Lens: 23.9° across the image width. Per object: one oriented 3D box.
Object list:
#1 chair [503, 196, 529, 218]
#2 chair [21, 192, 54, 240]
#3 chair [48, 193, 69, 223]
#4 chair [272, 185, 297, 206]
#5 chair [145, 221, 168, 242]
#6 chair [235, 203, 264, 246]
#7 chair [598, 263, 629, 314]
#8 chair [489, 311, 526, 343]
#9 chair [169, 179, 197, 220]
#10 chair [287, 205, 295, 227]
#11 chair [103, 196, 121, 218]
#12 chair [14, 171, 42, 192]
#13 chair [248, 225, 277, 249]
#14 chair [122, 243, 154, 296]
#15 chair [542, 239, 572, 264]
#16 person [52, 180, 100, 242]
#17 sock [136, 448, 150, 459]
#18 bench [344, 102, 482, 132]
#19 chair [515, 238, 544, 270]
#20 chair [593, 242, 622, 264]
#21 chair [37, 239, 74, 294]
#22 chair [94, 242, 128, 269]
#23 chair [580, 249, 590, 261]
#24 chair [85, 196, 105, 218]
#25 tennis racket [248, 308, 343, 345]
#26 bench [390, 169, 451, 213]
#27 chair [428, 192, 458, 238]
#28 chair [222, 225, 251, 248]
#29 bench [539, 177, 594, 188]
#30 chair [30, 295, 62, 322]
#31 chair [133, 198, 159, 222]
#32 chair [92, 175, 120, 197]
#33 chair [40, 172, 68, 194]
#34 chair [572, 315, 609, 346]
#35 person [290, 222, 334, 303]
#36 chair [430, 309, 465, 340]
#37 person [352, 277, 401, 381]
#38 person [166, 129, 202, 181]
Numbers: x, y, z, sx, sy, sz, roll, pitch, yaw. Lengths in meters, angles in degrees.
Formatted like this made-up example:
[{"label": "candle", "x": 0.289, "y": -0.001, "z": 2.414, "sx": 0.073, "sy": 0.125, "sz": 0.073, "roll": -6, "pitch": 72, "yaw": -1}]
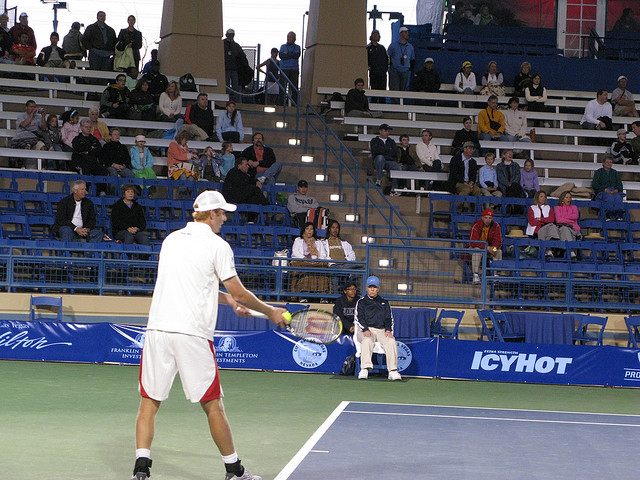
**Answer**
[{"label": "chair", "x": 4.984, "y": -0.834, "z": 38.513, "sx": 0.610, "sy": 0.483, "sz": 0.524, "roll": 1, "pitch": -1, "yaw": -11}, {"label": "chair", "x": -6.787, "y": -0.689, "z": 36.579, "sx": 0.876, "sy": 1.495, "sz": 1.109, "roll": 0, "pitch": -6, "yaw": -19}, {"label": "chair", "x": -6.446, "y": -0.817, "z": 36.774, "sx": 0.562, "sy": 0.923, "sz": 0.651, "roll": 1, "pitch": -5, "yaw": -9}, {"label": "chair", "x": -0.910, "y": -1.177, "z": 38.862, "sx": 0.603, "sy": 0.512, "sz": 1.161, "roll": 0, "pitch": 0, "yaw": 2}, {"label": "chair", "x": -3.968, "y": -0.248, "z": 36.763, "sx": 0.668, "sy": 0.776, "sz": 0.568, "roll": 1, "pitch": -6, "yaw": -10}, {"label": "chair", "x": -1.765, "y": -0.478, "z": 37.279, "sx": 0.703, "sy": 0.862, "sz": 0.757, "roll": 0, "pitch": -1, "yaw": 37}, {"label": "chair", "x": 7.013, "y": 1.200, "z": 36.201, "sx": 0.707, "sy": 1.190, "sz": 1.312, "roll": 0, "pitch": 0, "yaw": 10}, {"label": "chair", "x": 4.189, "y": 2.036, "z": 34.477, "sx": 0.803, "sy": 1.051, "sz": 0.611, "roll": -3, "pitch": -3, "yaw": 30}, {"label": "chair", "x": -3.483, "y": -0.975, "z": 37.887, "sx": 0.815, "sy": 0.992, "sz": 0.848, "roll": 8, "pitch": 16, "yaw": 24}, {"label": "chair", "x": -0.751, "y": -0.515, "z": 37.621, "sx": 0.128, "sy": 0.338, "sz": 0.257, "roll": -14, "pitch": 21, "yaw": -4}, {"label": "chair", "x": -5.106, "y": -0.812, "z": 36.904, "sx": 0.383, "sy": 0.489, "sz": 0.830, "roll": 0, "pitch": 0, "yaw": -7}, {"label": "chair", "x": -7.243, "y": -1.477, "z": 37.649, "sx": 0.505, "sy": 0.850, "sz": 0.600, "roll": 2, "pitch": -5, "yaw": -35}, {"label": "chair", "x": -1.415, "y": -0.044, "z": 37.013, "sx": 0.519, "sy": 0.917, "sz": 0.641, "roll": 1, "pitch": -3, "yaw": -15}, {"label": "chair", "x": -4.220, "y": 0.712, "z": 35.029, "sx": 0.728, "sy": 1.142, "sz": 0.646, "roll": 0, "pitch": 0, "yaw": -5}, {"label": "chair", "x": 5.774, "y": 0.288, "z": 37.080, "sx": 0.645, "sy": 0.580, "sz": 0.548, "roll": 0, "pitch": -4, "yaw": 1}, {"label": "person", "x": -5.723, "y": -0.495, "z": 35.654, "sx": 1.134, "sy": 1.797, "sz": 1.309, "roll": 7, "pitch": 4, "yaw": -18}, {"label": "sock", "x": -3.042, "y": 3.763, "z": 26.025, "sx": 0.189, "sy": 0.128, "sz": 0.186, "roll": 1, "pitch": -6, "yaw": -12}, {"label": "bench", "x": 2.771, "y": -3.650, "z": 43.333, "sx": 4.860, "sy": 0.972, "sz": 0.831, "roll": 1, "pitch": -3, "yaw": -8}, {"label": "chair", "x": 5.098, "y": 0.326, "z": 36.901, "sx": 0.683, "sy": 0.755, "sz": 1.025, "roll": 0, "pitch": 0, "yaw": 7}, {"label": "chair", "x": 7.091, "y": 0.354, "z": 37.367, "sx": 0.506, "sy": 0.873, "sz": 0.616, "roll": 1, "pitch": 2, "yaw": 18}, {"label": "chair", "x": -6.065, "y": 0.650, "z": 34.722, "sx": 0.806, "sy": 1.153, "sz": 0.549, "roll": 0, "pitch": 0, "yaw": -11}, {"label": "chair", "x": -4.831, "y": 0.354, "z": 34.990, "sx": 0.674, "sy": 0.658, "sz": 0.439, "roll": 3, "pitch": -4, "yaw": -16}, {"label": "chair", "x": 6.599, "y": 0.397, "z": 37.554, "sx": 0.224, "sy": 0.389, "sz": 0.213, "roll": -1, "pitch": -2, "yaw": 16}, {"label": "chair", "x": -5.472, "y": -0.813, "z": 36.802, "sx": 0.435, "sy": 0.490, "sz": 0.711, "roll": 0, "pitch": 0, "yaw": -8}, {"label": "tennis racket", "x": -0.098, "y": 1.625, "z": 27.556, "sx": 0.502, "sy": 0.644, "sz": 1.335, "roll": 0, "pitch": 0, "yaw": 43}, {"label": "bench", "x": 2.586, "y": -1.261, "z": 39.364, "sx": 1.220, "sy": 0.742, "sz": 0.440, "roll": 1, "pitch": -3, "yaw": -15}, {"label": "chair", "x": 3.102, "y": -0.643, "z": 38.483, "sx": 0.716, "sy": 1.138, "sz": 0.926, "roll": 0, "pitch": 0, "yaw": 5}, {"label": "chair", "x": -2.074, "y": -0.078, "z": 36.809, "sx": 0.519, "sy": 0.912, "sz": 0.640, "roll": 1, "pitch": -3, "yaw": -27}, {"label": "bench", "x": 6.631, "y": -1.563, "z": 40.788, "sx": 1.964, "sy": 0.271, "sz": 0.396, "roll": 0, "pitch": 12, "yaw": -2}, {"label": "chair", "x": -6.212, "y": 1.598, "z": 34.213, "sx": 0.535, "sy": 0.942, "sz": 0.698, "roll": 1, "pitch": 4, "yaw": -18}, {"label": "chair", "x": -4.215, "y": -0.759, "z": 37.198, "sx": 0.499, "sy": 0.834, "sz": 0.613, "roll": 0, "pitch": -7, "yaw": -5}, {"label": "chair", "x": -5.325, "y": -1.354, "z": 37.688, "sx": 0.556, "sy": 0.777, "sz": 0.572, "roll": 0, "pitch": 3, "yaw": -27}, {"label": "chair", "x": -6.652, "y": -1.431, "z": 37.661, "sx": 0.496, "sy": 0.885, "sz": 0.657, "roll": 1, "pitch": -4, "yaw": -18}, {"label": "chair", "x": 6.231, "y": 2.116, "z": 34.722, "sx": 0.761, "sy": 0.990, "sz": 0.741, "roll": -2, "pitch": -14, "yaw": 34}, {"label": "person", "x": -0.193, "y": 0.548, "z": 35.374, "sx": 0.996, "sy": 1.803, "sz": 1.047, "roll": 0, "pitch": 0, "yaw": -1}, {"label": "chair", "x": 2.863, "y": 2.051, "z": 34.326, "sx": 0.556, "sy": 0.767, "sz": 0.597, "roll": 7, "pitch": 12, "yaw": 25}, {"label": "person", "x": 1.209, "y": 1.971, "z": 32.502, "sx": 0.924, "sy": 2.168, "sz": 0.476, "roll": 0, "pitch": 0, "yaw": 2}, {"label": "person", "x": -3.507, "y": -2.054, "z": 39.012, "sx": 0.892, "sy": 1.592, "sz": 0.661, "roll": 8, "pitch": 11, "yaw": 31}]
